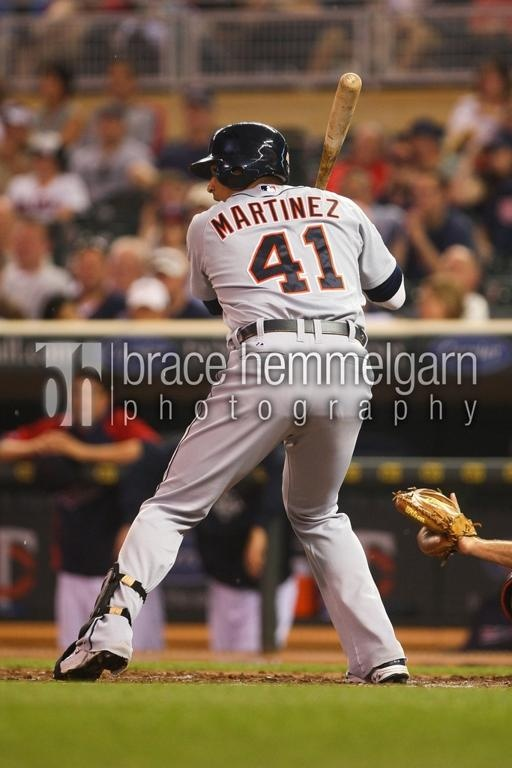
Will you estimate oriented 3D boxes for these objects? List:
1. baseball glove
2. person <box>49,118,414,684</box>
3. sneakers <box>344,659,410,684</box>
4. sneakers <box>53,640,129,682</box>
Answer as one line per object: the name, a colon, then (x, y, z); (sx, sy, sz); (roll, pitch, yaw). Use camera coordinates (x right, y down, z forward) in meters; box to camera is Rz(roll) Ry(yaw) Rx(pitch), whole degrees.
baseball glove: (0.479, 0.374, 3.061); (0.222, 0.071, 0.151); (37, 64, 20)
person: (0.008, 0.176, 2.953); (0.831, 1.212, 0.894); (4, 29, 7)
sneakers: (0.320, 0.754, 3.056); (0.069, 0.071, 0.164); (5, -5, -35)
sneakers: (-0.405, 0.685, 2.848); (0.200, 0.076, 0.098); (-17, 30, 21)
